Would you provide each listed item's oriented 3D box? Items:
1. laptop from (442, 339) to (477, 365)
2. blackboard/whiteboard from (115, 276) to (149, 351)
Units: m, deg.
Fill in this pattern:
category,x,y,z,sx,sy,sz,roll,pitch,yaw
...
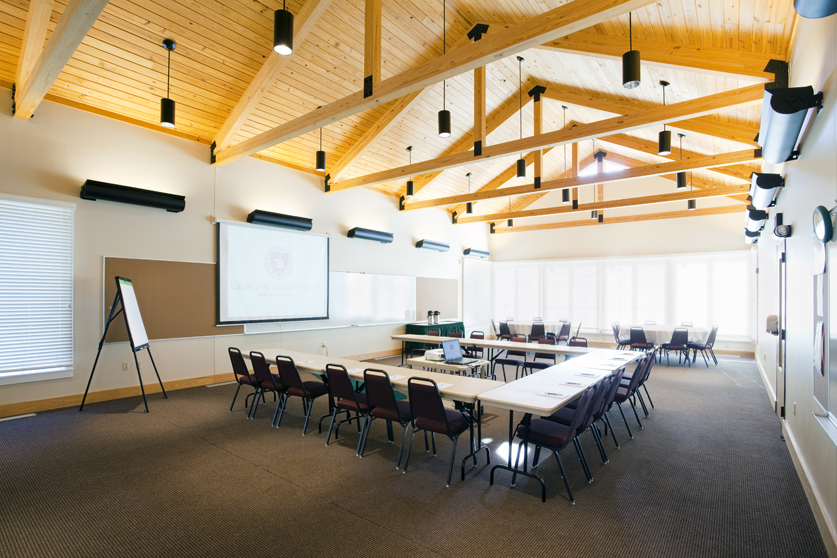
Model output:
category,x,y,z,sx,sy,sz,roll,pitch,yaw
laptop,0.623,1.264,9.113,0.389,0.303,0.512,-2,-6,30
blackboard/whiteboard,-4.801,0.584,8.890,0.313,1.207,0.604,-1,1,-9
